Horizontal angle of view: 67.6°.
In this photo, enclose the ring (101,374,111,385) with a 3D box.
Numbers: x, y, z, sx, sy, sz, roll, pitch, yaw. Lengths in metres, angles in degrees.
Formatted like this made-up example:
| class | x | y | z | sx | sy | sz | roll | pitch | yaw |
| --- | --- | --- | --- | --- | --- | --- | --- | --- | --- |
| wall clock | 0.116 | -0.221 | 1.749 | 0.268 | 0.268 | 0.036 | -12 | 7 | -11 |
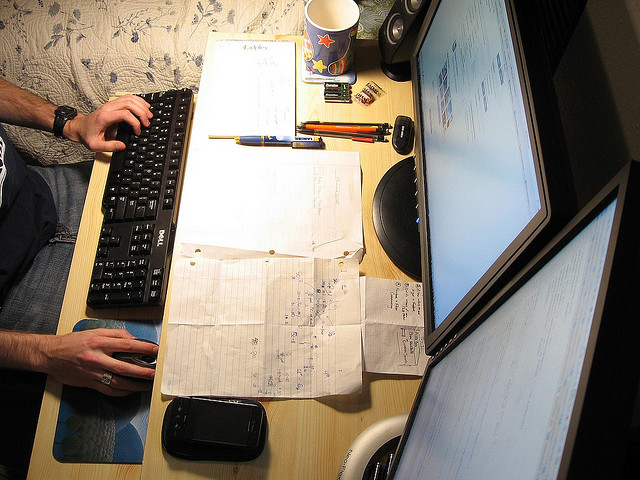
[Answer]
| class | x | y | z | sx | sy | sz | roll | pitch | yaw |
| --- | --- | --- | --- | --- | --- | --- | --- | --- | --- |
| ring | -0.408 | 0.264 | 0.916 | 0.013 | 0.019 | 0.023 | 15 | 84 | -26 |
